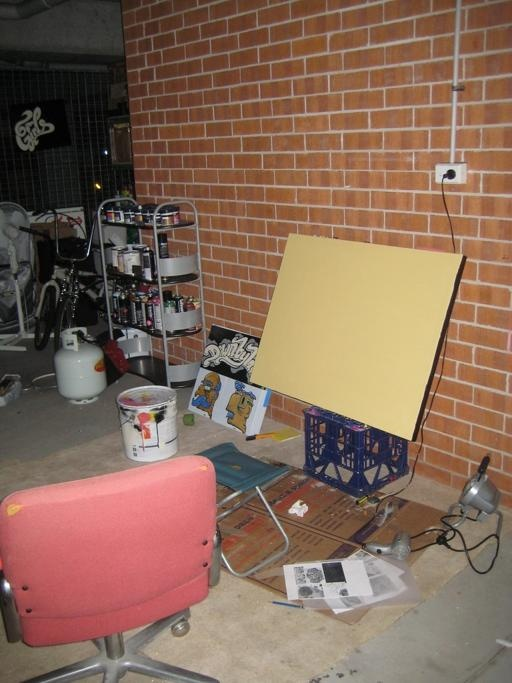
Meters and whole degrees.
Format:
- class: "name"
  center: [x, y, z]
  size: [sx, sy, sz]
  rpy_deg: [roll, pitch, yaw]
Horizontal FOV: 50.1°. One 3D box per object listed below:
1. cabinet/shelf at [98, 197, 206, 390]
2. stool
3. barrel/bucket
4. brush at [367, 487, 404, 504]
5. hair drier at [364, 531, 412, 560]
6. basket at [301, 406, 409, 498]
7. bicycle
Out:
- class: "cabinet/shelf"
  center: [-0.812, -0.361, 4.390]
  size: [0.436, 1.591, 1.206]
  rpy_deg: [-14, 26, -34]
- class: "stool"
  center: [-0.092, 0.822, 2.900]
  size: [0.327, 0.392, 0.635]
  rpy_deg: [-9, 12, -40]
- class: "barrel/bucket"
  center: [-0.634, 0.499, 3.239]
  size: [0.332, 0.409, 0.298]
  rpy_deg: [-7, 15, -19]
- class: "brush"
  center: [0.645, 0.783, 2.755]
  size: [0.216, 0.012, 0.062]
  rpy_deg: [-3, 21, -44]
- class: "hair drier"
  center: [0.543, 0.851, 2.282]
  size: [0.196, 0.115, 0.100]
  rpy_deg: [1, 14, 14]
- class: "basket"
  center: [0.536, 0.540, 2.948]
  size: [0.457, 0.420, 0.427]
  rpy_deg: [-15, 19, -43]
- class: "bicycle"
  center: [-2.253, -0.580, 6.103]
  size: [1.015, 1.417, 2.002]
  rpy_deg: [-1, 9, -21]
